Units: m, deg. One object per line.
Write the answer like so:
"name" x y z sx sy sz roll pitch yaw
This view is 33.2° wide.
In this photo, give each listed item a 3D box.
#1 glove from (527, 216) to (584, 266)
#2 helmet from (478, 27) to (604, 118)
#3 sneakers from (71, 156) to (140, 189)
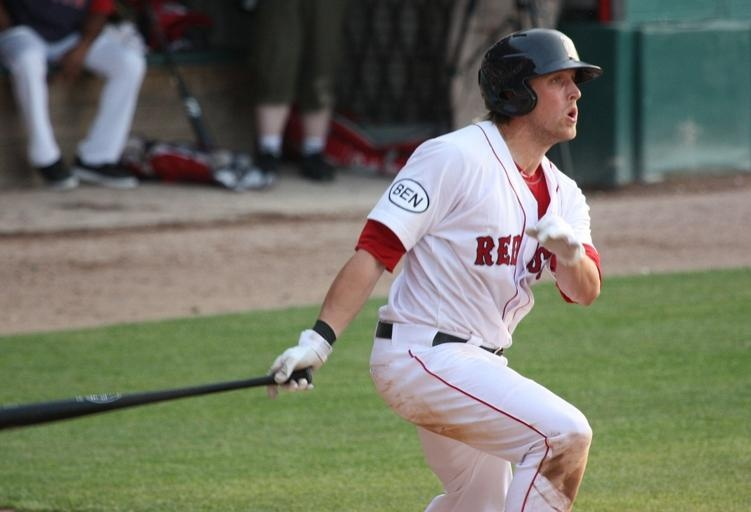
"glove" 0.818 -0.073 5.696 0.193 0.259 0.085 -26 60 14
"helmet" 0.705 -0.855 6.022 0.561 0.368 0.398 -9 -2 -4
"sneakers" -1.820 -0.550 8.406 0.425 0.152 0.142 5 34 -19
